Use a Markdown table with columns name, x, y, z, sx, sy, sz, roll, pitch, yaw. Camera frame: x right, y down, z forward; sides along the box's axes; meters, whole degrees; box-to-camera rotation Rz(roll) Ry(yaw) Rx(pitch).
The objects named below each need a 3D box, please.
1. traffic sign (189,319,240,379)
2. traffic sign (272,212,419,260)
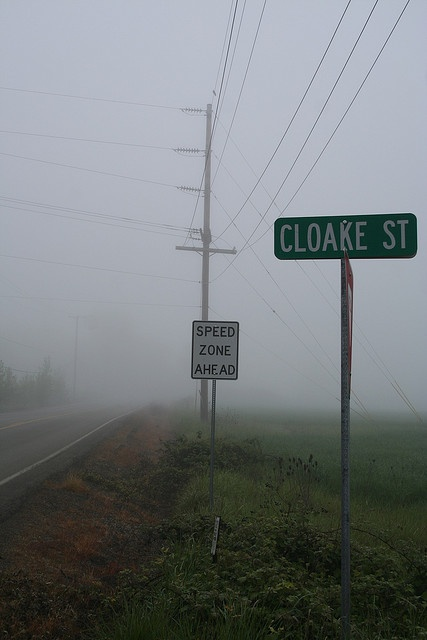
| name | x | y | z | sx | sy | sz | roll | pitch | yaw |
| --- | --- | --- | --- | --- | --- | --- | --- | --- | --- |
| traffic sign | 0.013 | 0.554 | 8.604 | 0.843 | 1.270 | 0.091 | 2 | -38 | 0 |
| traffic sign | 0.870 | -0.518 | 3.090 | 0.536 | 0.255 | 0.030 | 0 | -7 | 6 |
